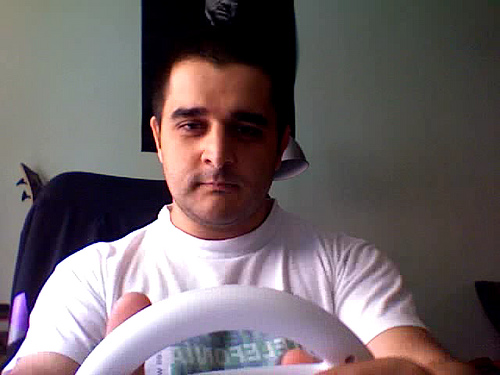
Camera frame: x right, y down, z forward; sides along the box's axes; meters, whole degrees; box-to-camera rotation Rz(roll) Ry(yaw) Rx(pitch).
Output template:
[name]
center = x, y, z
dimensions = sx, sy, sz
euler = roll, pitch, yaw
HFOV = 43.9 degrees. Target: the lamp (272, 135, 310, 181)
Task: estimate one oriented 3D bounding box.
[lamp]
center = 0.123, -0.071, 2.018
dimensions = 0.104, 0.138, 0.120
euler = 4, -23, -15
